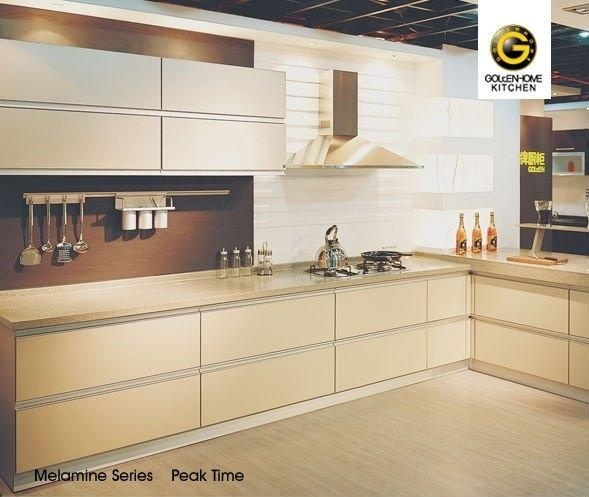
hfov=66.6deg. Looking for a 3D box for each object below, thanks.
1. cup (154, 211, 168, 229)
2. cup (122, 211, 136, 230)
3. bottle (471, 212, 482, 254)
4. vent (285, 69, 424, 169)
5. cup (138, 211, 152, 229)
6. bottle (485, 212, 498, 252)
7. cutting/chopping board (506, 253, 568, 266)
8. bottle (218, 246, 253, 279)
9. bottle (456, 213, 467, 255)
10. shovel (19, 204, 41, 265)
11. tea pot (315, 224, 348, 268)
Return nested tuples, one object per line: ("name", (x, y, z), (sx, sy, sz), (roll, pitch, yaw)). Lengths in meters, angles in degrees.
("cup", (-0.935, -0.206, 3.140), (0.089, 0.121, 0.070), (-2, 5, -20))
("cup", (-1.125, -0.188, 3.069), (0.096, 0.136, 0.164), (-2, 5, -20))
("bottle", (1.807, -0.153, 4.437), (0.086, 0.391, 0.221), (1, 5, 20))
("vent", (0.431, -0.943, 3.924), (1.260, 0.911, 0.951), (-4, 4, -34))
("cup", (-1.015, -0.197, 3.131), (0.123, 0.120, 0.114), (-1, 0, 0))
("bottle", (1.986, -0.170, 4.517), (0.093, 0.403, 0.240), (2, 5, 22))
("cutting/chopping board", (2.122, 0.089, 3.905), (0.490, 0.074, 0.470), (1, 5, 18))
("bottle", (-0.470, 0.108, 3.514), (0.072, 0.212, 0.278), (1, 2, 44))
("bottle", (1.637, -0.147, 4.385), (0.103, 0.394, 0.288), (1, 5, 19))
("shovel", (-1.628, -0.093, 2.750), (0.113, 0.373, 0.092), (-3, 6, -30))
("tea pot", (0.310, -0.015, 3.684), (0.171, 0.350, 0.245), (4, 7, 43))
